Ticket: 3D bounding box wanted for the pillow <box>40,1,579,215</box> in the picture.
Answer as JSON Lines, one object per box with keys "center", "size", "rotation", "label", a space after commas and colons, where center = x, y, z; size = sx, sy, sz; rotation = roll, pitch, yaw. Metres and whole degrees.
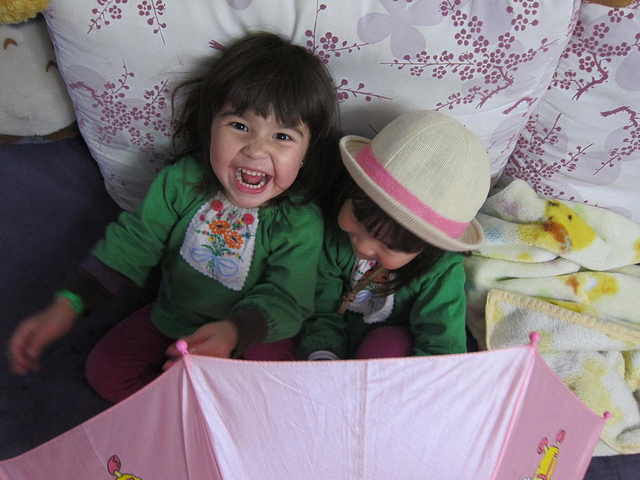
{"center": [-0.025, -0.309, 1.345], "size": [1.153, 0.617, 0.112], "rotation": [3, 43, -7], "label": "pillow"}
